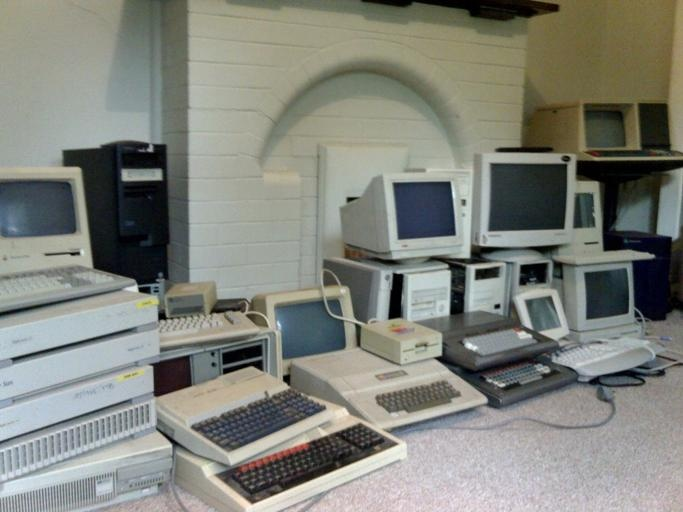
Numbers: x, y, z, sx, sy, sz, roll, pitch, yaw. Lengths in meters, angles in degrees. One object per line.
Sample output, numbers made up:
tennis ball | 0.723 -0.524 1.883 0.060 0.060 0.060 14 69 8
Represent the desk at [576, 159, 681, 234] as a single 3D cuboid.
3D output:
desk | 2.040 -0.440 3.882 0.470 0.467 0.267 7 21 40
